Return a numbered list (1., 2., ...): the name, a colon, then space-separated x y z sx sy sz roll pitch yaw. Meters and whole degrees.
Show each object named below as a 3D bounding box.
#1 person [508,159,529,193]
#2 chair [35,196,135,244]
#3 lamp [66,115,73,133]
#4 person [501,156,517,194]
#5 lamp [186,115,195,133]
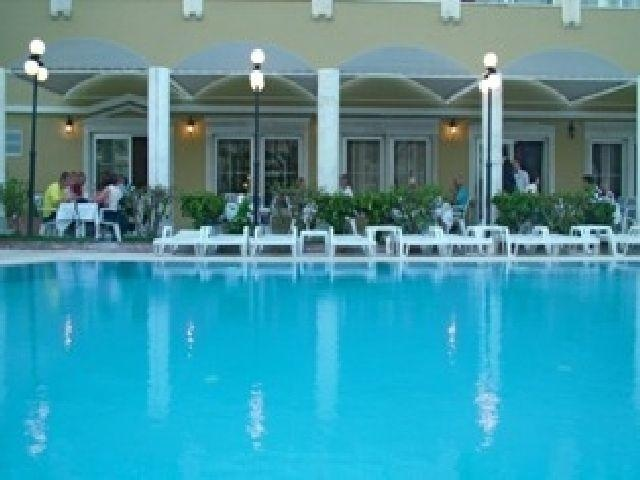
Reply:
1. person: 5.595 -1.677 24.022 0.774 0.953 0.263 -13 0 -36
2. chair: -5.607 -0.368 20.106 2.123 0.847 0.493 2 8 12
3. lamp: -7.133 -3.136 24.212 0.249 0.504 0.120 -4 8 -25
4. person: 5.382 -1.727 24.216 0.175 0.986 0.285 16 24 40
5. lamp: -3.694 -3.134 24.263 0.233 0.487 0.111 -3 8 -20
